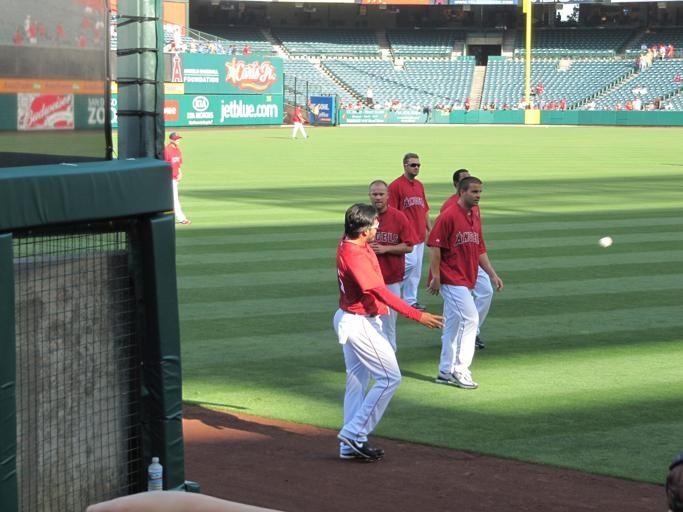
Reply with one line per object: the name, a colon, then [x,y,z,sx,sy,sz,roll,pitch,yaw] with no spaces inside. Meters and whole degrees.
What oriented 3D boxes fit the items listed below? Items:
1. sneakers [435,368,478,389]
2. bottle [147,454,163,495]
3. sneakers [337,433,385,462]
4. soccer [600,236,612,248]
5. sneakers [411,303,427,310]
sneakers: [1.090,1.164,10.083,0.396,0.145,0.149,4,10,26]
bottle: [-1.300,1.537,7.368,0.116,0.245,0.348,-4,15,-11]
sneakers: [0.122,1.555,8.552,0.446,0.183,0.157,5,2,6]
soccer: [3.874,-0.211,15.504,0.142,0.092,0.241,24,26,28]
sneakers: [0.925,0.581,12.476,0.225,0.088,0.089,2,5,28]
